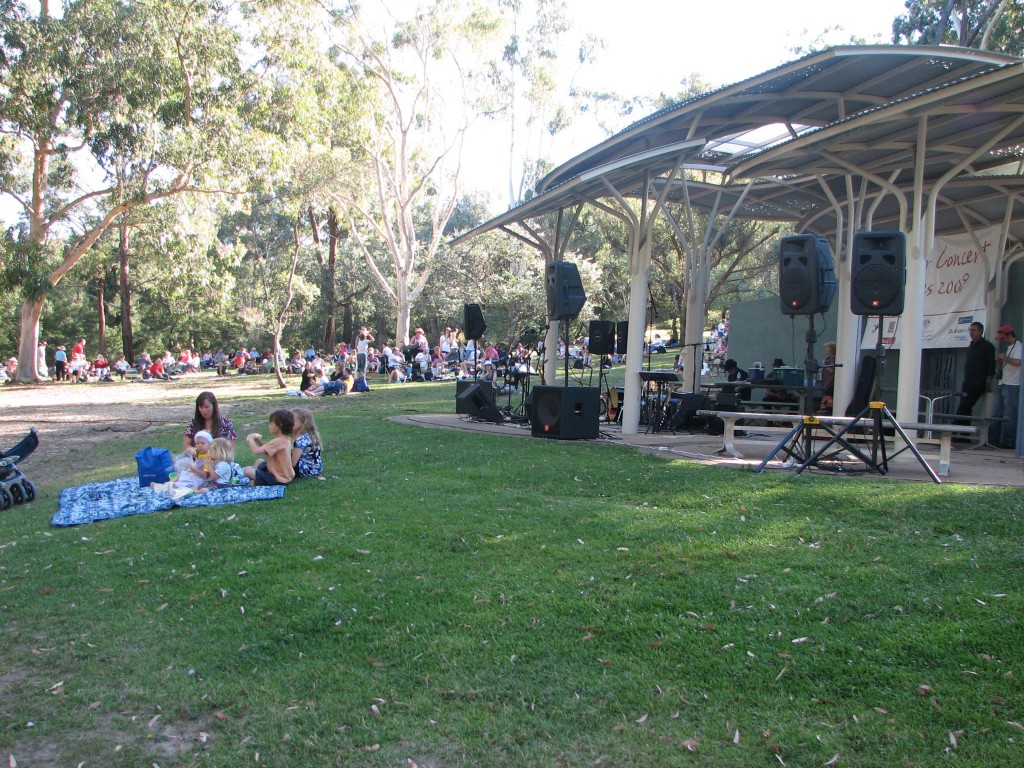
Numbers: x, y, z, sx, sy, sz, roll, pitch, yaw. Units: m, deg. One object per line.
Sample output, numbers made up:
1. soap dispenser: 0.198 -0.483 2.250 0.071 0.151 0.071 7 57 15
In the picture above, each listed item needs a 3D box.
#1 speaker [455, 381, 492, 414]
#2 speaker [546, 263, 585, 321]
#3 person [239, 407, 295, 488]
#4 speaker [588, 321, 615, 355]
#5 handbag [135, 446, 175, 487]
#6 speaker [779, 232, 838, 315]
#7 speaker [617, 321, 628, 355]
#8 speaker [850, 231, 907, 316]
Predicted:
1. speaker: -0.902 0.284 17.097 0.474 0.750 1.049 1 2 -34
2. speaker: 0.979 -1.721 14.736 0.646 1.213 1.029 2 1 0
3. person: -3.232 0.816 10.541 0.917 0.986 0.574 3 2 44
4. speaker: 1.909 -0.993 16.933 0.553 0.763 0.660 2 1 5
5. handbag: -4.788 1.112 10.729 0.450 0.536 0.447 -1 2 31
6. speaker: 4.081 -1.509 11.050 0.736 1.180 0.630 2 2 13
7. speaker: 2.374 -1.036 17.365 0.204 0.677 1.288 2 1 10
8. speaker: 4.683 -1.414 10.225 0.624 1.111 0.358 3 2 23
